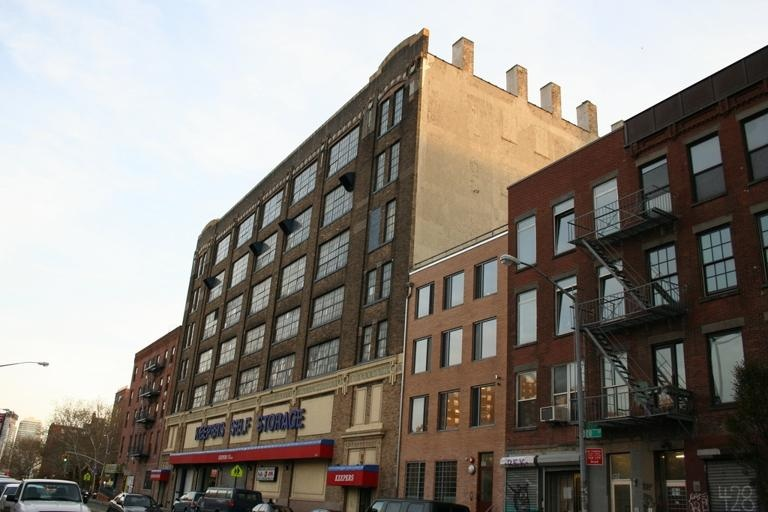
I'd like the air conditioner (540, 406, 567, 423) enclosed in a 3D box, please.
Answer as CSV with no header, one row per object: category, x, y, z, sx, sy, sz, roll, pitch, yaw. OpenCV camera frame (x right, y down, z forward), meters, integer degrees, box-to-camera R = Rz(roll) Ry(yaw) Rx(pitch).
air conditioner,8.572,7.948,30.213,0.842,0.870,1.306,11,-19,-28
